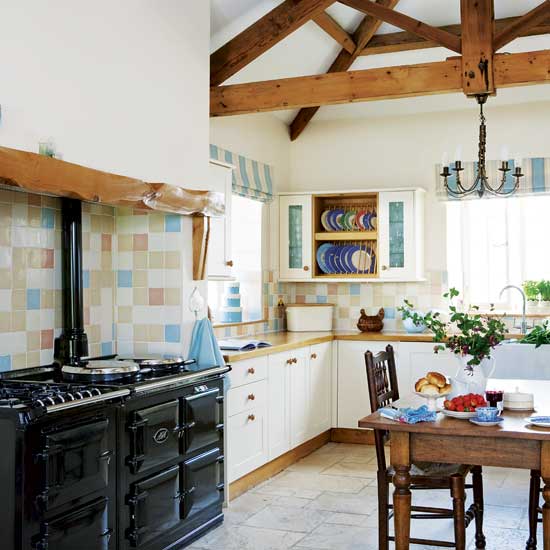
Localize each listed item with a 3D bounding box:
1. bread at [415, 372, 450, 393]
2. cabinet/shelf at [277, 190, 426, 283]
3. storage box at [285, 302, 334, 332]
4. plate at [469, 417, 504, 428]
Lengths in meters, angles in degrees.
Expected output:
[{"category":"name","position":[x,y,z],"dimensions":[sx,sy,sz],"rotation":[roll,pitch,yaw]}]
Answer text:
[{"category":"bread","position":[0.671,0.456,2.340],"dimensions":[0.117,0.058,0.108],"rotation":[-2,0,-14]},{"category":"cabinet/shelf","position":[0.741,-0.353,5.273],"dimensions":[1.034,0.556,0.296],"rotation":[0,-2,16]},{"category":"storage box","position":[0.341,0.410,5.213],"dimensions":[0.375,0.176,0.255],"rotation":[0,-1,0]},{"category":"plate","position":[0.746,0.513,1.953],"dimensions":[0.112,0.029,0.126],"rotation":[-2,-4,21]}]
